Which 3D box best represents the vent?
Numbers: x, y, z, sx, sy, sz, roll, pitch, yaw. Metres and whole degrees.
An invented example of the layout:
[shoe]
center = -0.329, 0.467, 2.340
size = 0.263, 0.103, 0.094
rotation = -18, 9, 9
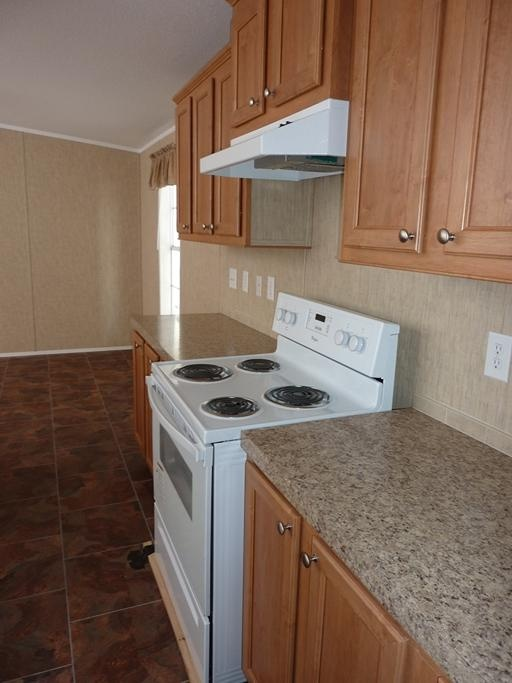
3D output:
[vent]
center = 0.076, -0.620, 1.517
size = 0.502, 0.180, 0.716
rotation = 1, 11, -7
